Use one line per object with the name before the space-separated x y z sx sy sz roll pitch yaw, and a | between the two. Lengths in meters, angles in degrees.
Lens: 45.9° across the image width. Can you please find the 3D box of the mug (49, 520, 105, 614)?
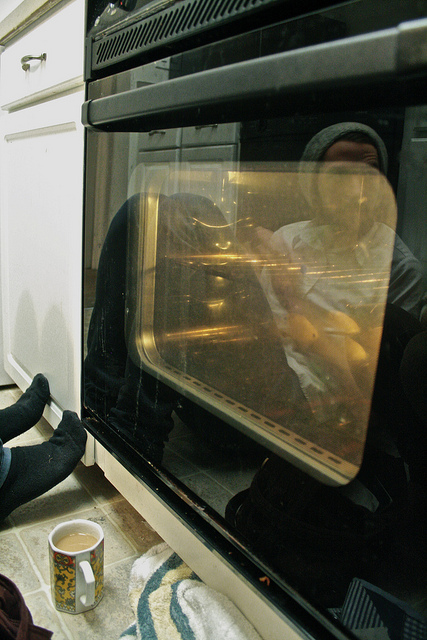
mug | -0.160 0.288 0.589 0.075 0.090 0.073 -8 14 -44
